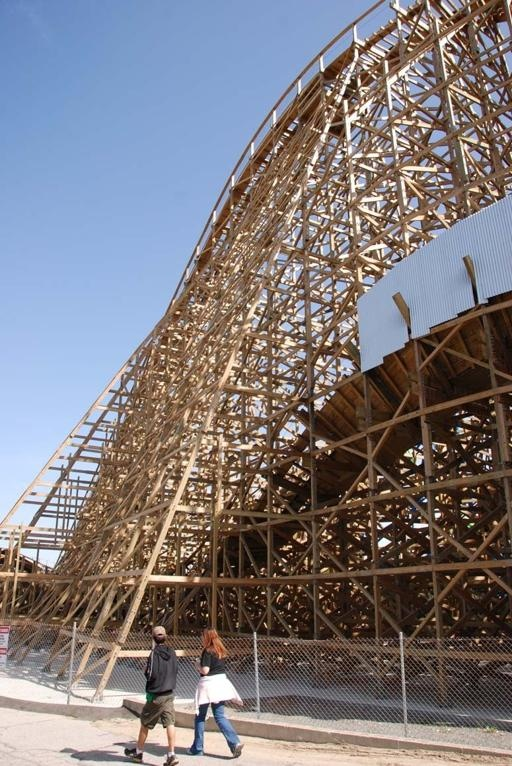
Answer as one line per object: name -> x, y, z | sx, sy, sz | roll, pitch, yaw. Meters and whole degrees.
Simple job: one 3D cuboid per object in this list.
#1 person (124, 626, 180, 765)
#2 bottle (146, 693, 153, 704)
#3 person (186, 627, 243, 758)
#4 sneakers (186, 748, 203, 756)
person -> -1.048, 3.384, 7.681 | 0.507, 1.357, 0.707 | 12, -27, -12
bottle -> -1.156, 3.385, 7.577 | 0.048, 0.089, 0.141 | 18, -29, -23
person -> -0.406, 3.486, 7.943 | 0.559, 1.319, 0.610 | 7, -27, -1
sneakers -> -0.689, 4.121, 7.896 | 0.067, 0.068, 0.169 | 15, -20, -35
